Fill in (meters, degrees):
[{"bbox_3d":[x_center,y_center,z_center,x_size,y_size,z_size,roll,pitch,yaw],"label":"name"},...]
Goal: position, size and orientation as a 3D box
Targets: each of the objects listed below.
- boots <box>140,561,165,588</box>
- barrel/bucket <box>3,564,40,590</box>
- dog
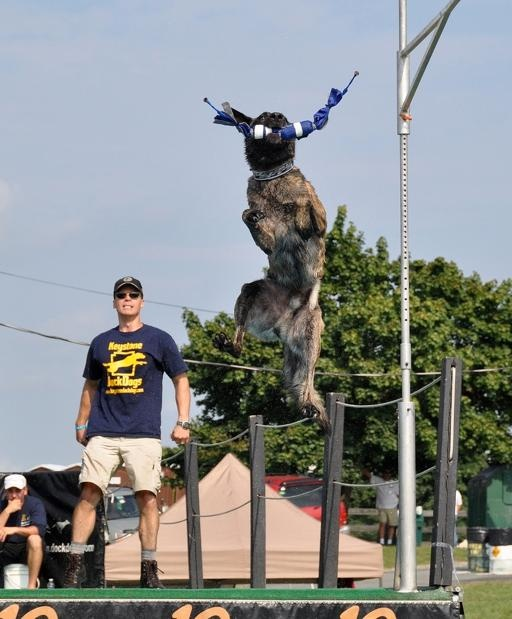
[{"bbox_3d":[-1.063,2.826,21.169,0.213,0.304,0.342,0,-12,-3],"label":"boots"},{"bbox_3d":[-2.660,3.163,23.305,0.405,0.334,0.439,-1,-18,0],"label":"barrel/bucket"},{"bbox_3d":[0.422,-0.365,23.012,1.132,3.613,1.461,-9,-7,25],"label":"dog"}]
